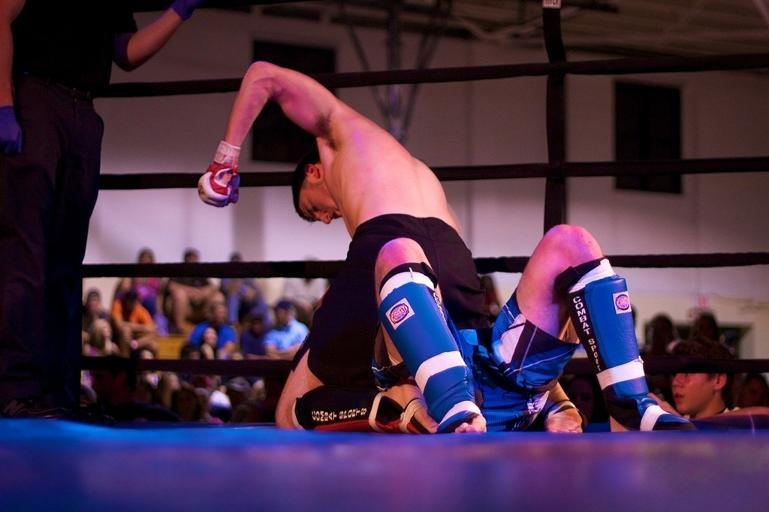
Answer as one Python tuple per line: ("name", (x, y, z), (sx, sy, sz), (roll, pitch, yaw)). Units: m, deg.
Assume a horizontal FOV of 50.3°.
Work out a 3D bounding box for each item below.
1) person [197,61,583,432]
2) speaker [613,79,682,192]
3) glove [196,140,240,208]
("person", (-0.009, -0.063, 3.139), (1.445, 1.410, 0.763), (6, 10, 39))
("speaker", (3.378, -1.526, 10.542), (0.868, 1.461, 0.833), (2, 8, 16))
("glove", (-0.698, -0.325, 3.419), (0.173, 0.275, 0.120), (4, -4, -2))
